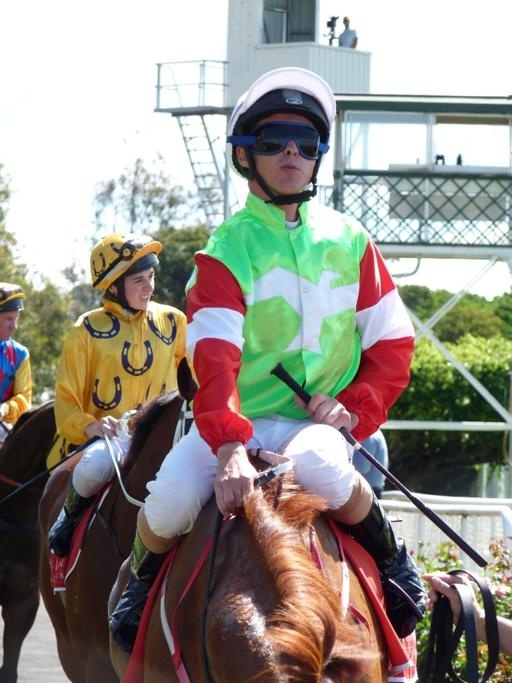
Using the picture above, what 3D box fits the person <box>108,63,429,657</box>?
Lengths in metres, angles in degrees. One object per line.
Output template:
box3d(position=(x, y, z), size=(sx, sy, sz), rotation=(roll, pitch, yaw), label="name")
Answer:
box3d(position=(0.067, 0.042, 3.224), size=(0.872, 1.506, 0.824), rotation=(-1, 7, -15), label="person")

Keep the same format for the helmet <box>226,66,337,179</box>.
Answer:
box3d(position=(0.064, -0.760, 3.506), size=(0.315, 0.195, 0.432), rotation=(8, -30, -12), label="helmet")
